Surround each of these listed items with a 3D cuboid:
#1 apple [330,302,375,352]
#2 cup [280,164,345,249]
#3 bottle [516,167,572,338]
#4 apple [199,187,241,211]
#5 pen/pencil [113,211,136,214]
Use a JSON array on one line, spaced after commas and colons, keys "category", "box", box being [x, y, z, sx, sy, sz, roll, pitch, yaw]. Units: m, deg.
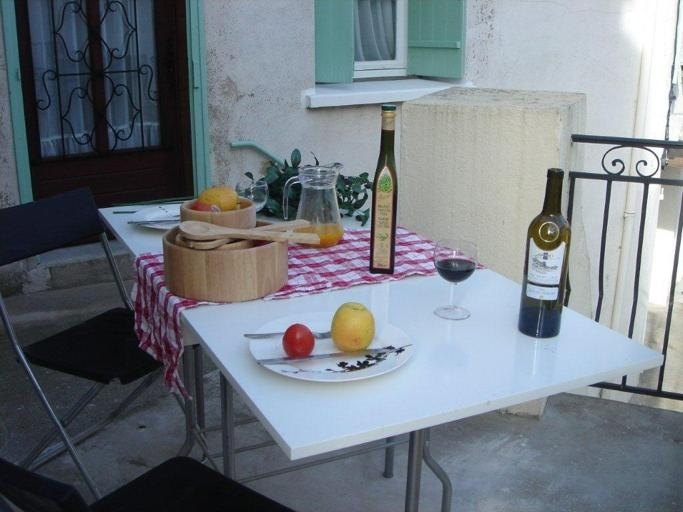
[{"category": "apple", "box": [0.024, 0.173, 1.442, 0.093, 0.131, 0.109, 2, -3, 1]}, {"category": "cup", "box": [-0.104, -0.176, 2.110, 0.175, 0.318, 0.169, 2, 18, -1]}, {"category": "bottle", "box": [0.514, 0.014, 1.559, 0.117, 0.488, 0.116, 1, 10, 0]}, {"category": "apple", "box": [-0.403, -0.185, 1.947, 0.101, 0.087, 0.079, 4, 3, 7]}, {"category": "pen/pencil", "box": [-0.907, -0.181, 2.461, 0.064, 0.008, 0.010, -3, 38, -1]}]
